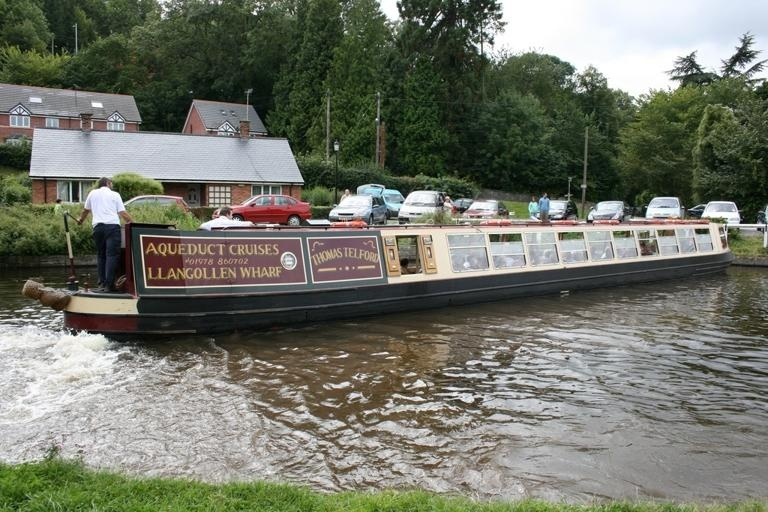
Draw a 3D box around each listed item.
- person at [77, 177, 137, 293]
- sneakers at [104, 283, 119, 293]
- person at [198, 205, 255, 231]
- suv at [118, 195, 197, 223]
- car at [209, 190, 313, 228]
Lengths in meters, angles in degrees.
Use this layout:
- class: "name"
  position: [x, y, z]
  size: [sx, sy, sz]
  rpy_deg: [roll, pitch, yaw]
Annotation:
- class: "person"
  position: [-6.746, -0.523, 16.182]
  size: [1.053, 2.721, 0.551]
  rpy_deg: [-3, 4, -10]
- class: "sneakers"
  position: [-6.583, 0.759, 16.125]
  size: [0.147, 0.158, 0.314]
  rpy_deg: [0, 3, 42]
- class: "person"
  position: [-4.425, -1.071, 18.361]
  size: [1.667, 0.599, 0.820]
  rpy_deg: [1, -1, -17]
- class: "suv"
  position: [-10.125, -2.149, 29.880]
  size: [2.988, 0.763, 1.299]
  rpy_deg: [-3, 6, -16]
- class: "car"
  position: [-6.024, -2.375, 34.391]
  size: [5.103, 1.323, 2.099]
  rpy_deg: [2, 1, -26]
